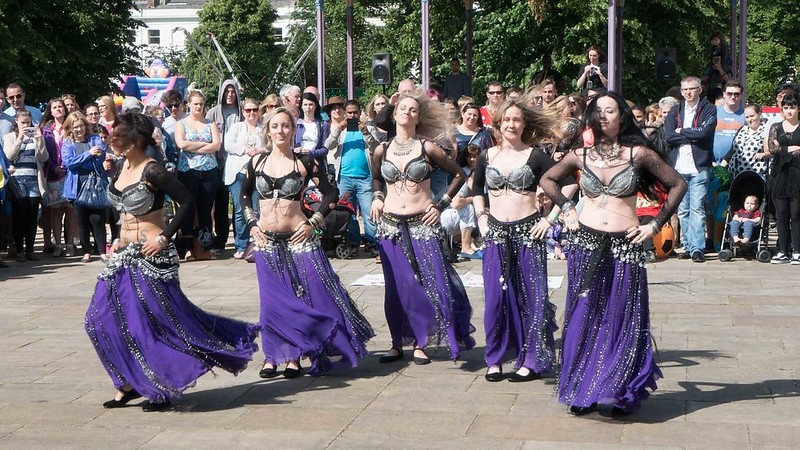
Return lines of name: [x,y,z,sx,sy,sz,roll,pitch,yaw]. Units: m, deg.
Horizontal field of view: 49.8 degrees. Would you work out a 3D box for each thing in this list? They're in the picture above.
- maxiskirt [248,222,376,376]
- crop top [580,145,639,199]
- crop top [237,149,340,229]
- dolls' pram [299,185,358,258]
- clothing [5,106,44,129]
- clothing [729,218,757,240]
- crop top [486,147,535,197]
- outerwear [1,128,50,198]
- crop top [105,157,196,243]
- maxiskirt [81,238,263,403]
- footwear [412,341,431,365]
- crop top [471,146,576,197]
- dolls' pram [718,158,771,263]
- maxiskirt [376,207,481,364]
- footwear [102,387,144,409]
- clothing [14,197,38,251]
maxiskirt: [-1.081,0.957,10.334,1.198,1.694,0.884,-19,-17,-9]
crop top: [2.155,-0.539,8.781,0.569,0.528,0.291,-2,-2,24]
crop top: [-1.432,-0.466,10.911,1.453,1.014,0.482,1,2,1]
dolls' pram: [-1.121,-0.048,14.897,1.194,1.351,1.122,-1,30,-6]
clothing: [-6.654,-1.902,15.287,0.645,0.240,0.346,0,-6,-10]
clothing: [5.788,0.073,14.579,0.419,0.322,0.166,-1,2,18]
crop top: [1.219,-0.576,9.633,0.536,0.327,0.326,-2,-11,25]
outerwear: [-6.448,-1.079,14.975,0.685,1.143,0.461,-2,2,-24]
crop top: [-2.917,-0.349,10.236,1.323,1.013,0.699,8,13,31]
maxiskirt: [-2.366,1.027,9.589,1.845,1.713,1.549,-3,15,-5]
footwear: [0.261,1.518,10.150,0.202,0.235,0.279,-1,2,1]
crop top: [1.438,-0.542,9.836,1.064,0.913,0.558,0,3,24]
dolls' pram: [5.818,-0.147,14.550,0.809,1.538,0.805,-1,2,22]
maxiskirt: [0.317,0.705,10.207,1.054,1.698,0.446,0,3,27]
footwear: [-2.886,1.833,9.089,0.444,0.166,0.157,-15,15,-10]
clothing: [-6.625,0.025,15.332,0.409,1.005,0.619,-3,2,-25]
